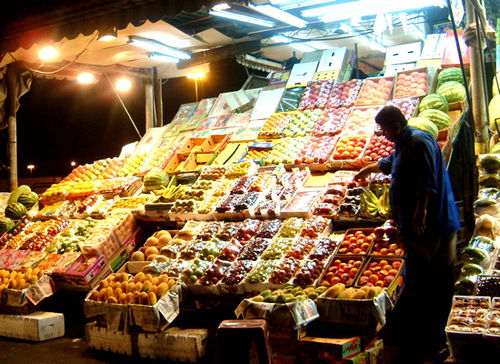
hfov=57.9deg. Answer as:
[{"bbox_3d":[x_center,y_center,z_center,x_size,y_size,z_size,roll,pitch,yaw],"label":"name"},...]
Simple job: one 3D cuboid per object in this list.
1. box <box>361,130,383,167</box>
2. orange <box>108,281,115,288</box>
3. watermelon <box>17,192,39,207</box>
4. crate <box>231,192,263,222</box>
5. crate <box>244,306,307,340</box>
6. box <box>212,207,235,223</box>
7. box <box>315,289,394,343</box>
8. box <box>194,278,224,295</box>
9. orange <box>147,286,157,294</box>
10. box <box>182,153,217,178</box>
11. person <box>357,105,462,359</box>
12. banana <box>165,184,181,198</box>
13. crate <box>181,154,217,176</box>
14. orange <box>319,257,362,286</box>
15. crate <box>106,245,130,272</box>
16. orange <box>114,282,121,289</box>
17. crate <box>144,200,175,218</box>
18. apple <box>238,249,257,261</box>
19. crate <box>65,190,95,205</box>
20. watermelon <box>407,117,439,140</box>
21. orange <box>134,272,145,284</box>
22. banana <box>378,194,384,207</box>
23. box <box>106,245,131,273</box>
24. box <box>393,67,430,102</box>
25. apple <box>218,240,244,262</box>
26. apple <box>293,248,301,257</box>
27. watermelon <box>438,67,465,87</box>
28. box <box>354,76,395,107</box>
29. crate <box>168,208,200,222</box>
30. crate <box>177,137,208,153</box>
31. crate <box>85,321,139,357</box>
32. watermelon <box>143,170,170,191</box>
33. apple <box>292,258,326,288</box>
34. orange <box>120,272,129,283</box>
[{"bbox_3d":[1.674,-0.532,6.198,0.279,0.584,1.606,0,-4,14],"label":"box"},{"bbox_3d":[-1.766,1.300,5.772,0.062,0.064,0.076,18,13,22],"label":"orange"},{"bbox_3d":[-4.433,0.341,9.017,0.414,0.295,0.284,2,-4,-10],"label":"watermelon"},{"bbox_3d":[-0.044,0.402,6.371,0.266,0.418,0.180,-1,-45,28],"label":"crate"},{"bbox_3d":[0.325,1.394,4.506,0.349,0.162,0.368,0,9,17],"label":"crate"},{"bbox_3d":[-0.366,0.472,6.443,0.194,0.198,0.123,-3,-12,31],"label":"box"},{"bbox_3d":[1.096,1.334,4.792,0.845,0.318,0.912,-3,-2,-24],"label":"box"},{"bbox_3d":[-0.521,1.276,5.501,0.203,0.203,0.090,-15,-22,26],"label":"box"},{"bbox_3d":[-1.157,1.269,5.374,0.075,0.108,0.081,29,-6,31],"label":"orange"},{"bbox_3d":[-0.931,-0.341,8.262,0.576,0.435,0.666,-1,-4,34],"label":"box"},{"bbox_3d":[1.813,0.570,4.795,0.744,2.691,0.712,-1,-4,25],"label":"person"},{"bbox_3d":[-1.239,0.146,7.381,0.180,0.173,0.045,-7,-58,55],"label":"banana"},{"bbox_3d":[-0.995,-0.321,8.508,0.442,0.426,0.120,1,-37,50],"label":"crate"},{"bbox_3d":[1.020,0.997,5.042,0.449,0.289,0.338,0,-4,13],"label":"orange"},{"bbox_3d":[-1.962,1.121,6.760,0.102,0.300,0.304,48,10,-11],"label":"crate"},{"bbox_3d":[-1.669,1.298,5.710,0.063,0.066,0.077,-4,8,-4],"label":"orange"},{"bbox_3d":[-1.414,0.401,6.978,0.294,0.186,0.294,-3,23,-1],"label":"crate"},{"bbox_3d":[-0.021,0.905,5.608,0.212,0.127,0.124,-2,-5,42],"label":"apple"},{"bbox_3d":[-3.174,0.275,8.399,0.711,0.257,0.188,-1,-4,32],"label":"crate"},{"bbox_3d":[2.414,-0.746,6.256,0.517,0.330,0.305,4,-5,-41],"label":"watermelon"},{"bbox_3d":[-1.377,1.196,5.655,0.099,0.131,0.073,31,-6,16],"label":"orange"},{"bbox_3d":[1.620,0.232,5.581,0.043,0.162,0.041,35,-23,-33],"label":"banana"},{"bbox_3d":[-1.959,1.145,6.760,0.110,0.346,0.246,16,-33,43],"label":"box"},{"bbox_3d":[2.707,-1.609,7.577,0.584,0.698,0.612,0,-4,21],"label":"box"},{"bbox_3d":[-0.230,0.879,5.739,0.162,0.294,0.089,30,-34,26],"label":"apple"},{"bbox_3d":[0.566,0.843,5.388,0.087,0.090,0.045,1,-3,4],"label":"apple"},{"bbox_3d":[3.338,-1.750,7.480,0.298,0.231,0.361,-12,10,-12],"label":"watermelon"},{"bbox_3d":[2.184,-1.591,7.902,0.668,0.665,0.655,0,-4,18],"label":"box"},{"bbox_3d":[-1.037,0.506,6.779,0.239,0.266,0.072,-2,-48,17],"label":"crate"},{"bbox_3d":[-1.180,-0.732,8.966,0.366,0.366,0.160,3,-36,41],"label":"crate"},{"bbox_3d":[-1.704,1.939,5.543,0.489,0.182,0.373,5,10,20],"label":"crate"},{"bbox_3d":[-1.647,-0.034,8.087,0.316,0.344,0.390,-18,-6,13],"label":"watermelon"},{"bbox_3d":[0.683,0.995,5.130,0.230,0.100,0.336,-21,22,40],"label":"apple"},{"bbox_3d":[-1.623,1.222,5.803,0.077,0.110,0.083,-1,-21,33],"label":"orange"}]
